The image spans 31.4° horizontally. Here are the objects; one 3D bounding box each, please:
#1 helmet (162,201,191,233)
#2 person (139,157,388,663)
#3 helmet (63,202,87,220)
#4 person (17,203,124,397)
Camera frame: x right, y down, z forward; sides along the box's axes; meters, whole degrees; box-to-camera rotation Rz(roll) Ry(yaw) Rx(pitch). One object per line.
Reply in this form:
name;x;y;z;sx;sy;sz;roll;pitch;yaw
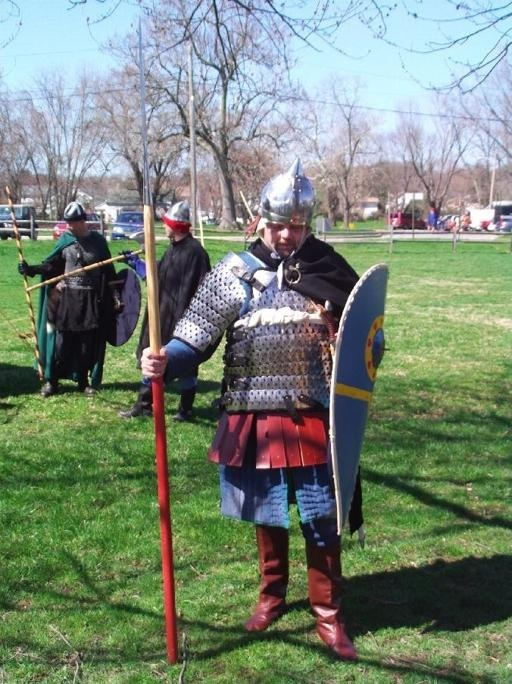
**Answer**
helmet;-0.554;-0.901;6.495;0.209;0.176;0.207;2;25;-24
person;0.068;0.249;3.855;0.895;2.010;0.705;4;13;7
helmet;-1.438;-1.044;7.241;0.141;0.160;0.148;-2;19;0
person;-1.531;-0.351;7.529;0.730;1.616;0.542;1;13;-9
